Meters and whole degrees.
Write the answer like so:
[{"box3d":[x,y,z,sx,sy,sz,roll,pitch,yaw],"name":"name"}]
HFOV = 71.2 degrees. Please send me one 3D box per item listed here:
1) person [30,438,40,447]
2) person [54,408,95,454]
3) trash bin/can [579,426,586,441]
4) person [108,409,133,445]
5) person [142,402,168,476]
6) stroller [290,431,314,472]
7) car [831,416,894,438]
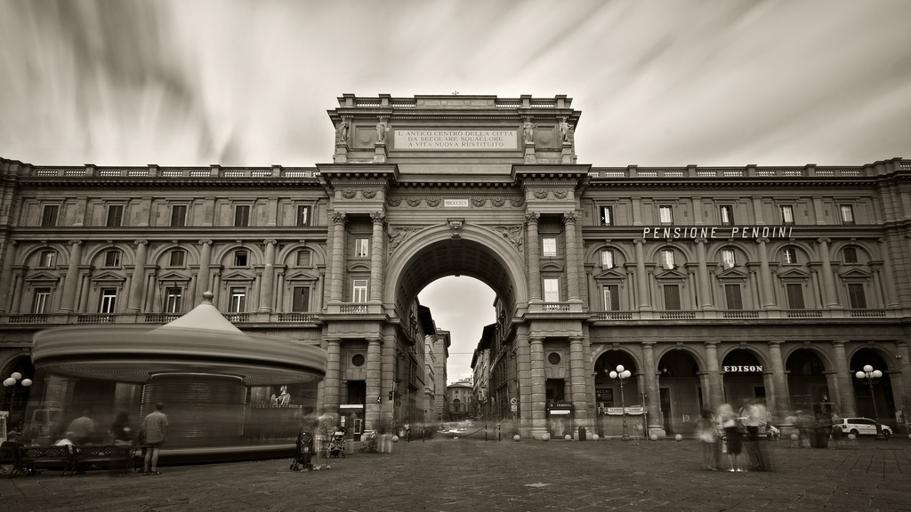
[{"box3d":[-22.421,10.035,34.084,0.450,0.468,2.802,11,-20,-33],"name":"person"},{"box3d":[-19.895,9.124,33.717,1.739,1.748,0.542,-4,-19,11],"name":"person"},{"box3d":[10.576,14.831,52.992,0.683,1.087,0.568,-2,-19,3],"name":"trash bin/can"},{"box3d":[-17.758,9.198,33.916,1.329,1.496,0.453,-3,-2,-6],"name":"person"},{"box3d":[-15.735,9.569,33.187,1.203,3.582,1.602,7,-21,-22],"name":"person"},{"box3d":[-8.118,10.499,33.929,1.742,1.842,0.795,7,-4,-8],"name":"stroller"},{"box3d":[32.698,13.934,51.699,2.883,1.592,7.931,-16,-22,41],"name":"car"}]
